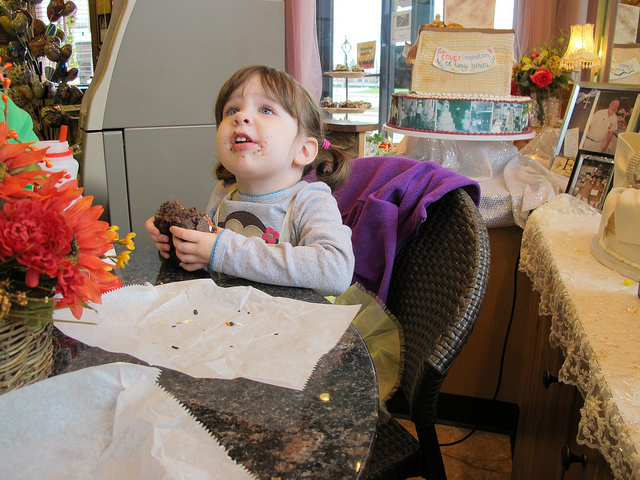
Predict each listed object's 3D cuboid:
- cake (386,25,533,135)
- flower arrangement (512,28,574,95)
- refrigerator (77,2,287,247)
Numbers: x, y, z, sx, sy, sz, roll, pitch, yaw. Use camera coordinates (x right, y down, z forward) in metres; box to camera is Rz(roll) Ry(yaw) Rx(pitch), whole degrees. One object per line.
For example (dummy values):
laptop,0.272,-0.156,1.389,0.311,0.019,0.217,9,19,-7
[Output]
cake,0.492,-0.578,1.622,0.447,0.384,0.410,-11,20,-32
flower arrangement,0.961,-0.709,2.008,0.288,0.200,0.288,2,28,11
refrigerator,-0.552,-0.512,2.206,0.746,1.580,0.824,0,15,-10
